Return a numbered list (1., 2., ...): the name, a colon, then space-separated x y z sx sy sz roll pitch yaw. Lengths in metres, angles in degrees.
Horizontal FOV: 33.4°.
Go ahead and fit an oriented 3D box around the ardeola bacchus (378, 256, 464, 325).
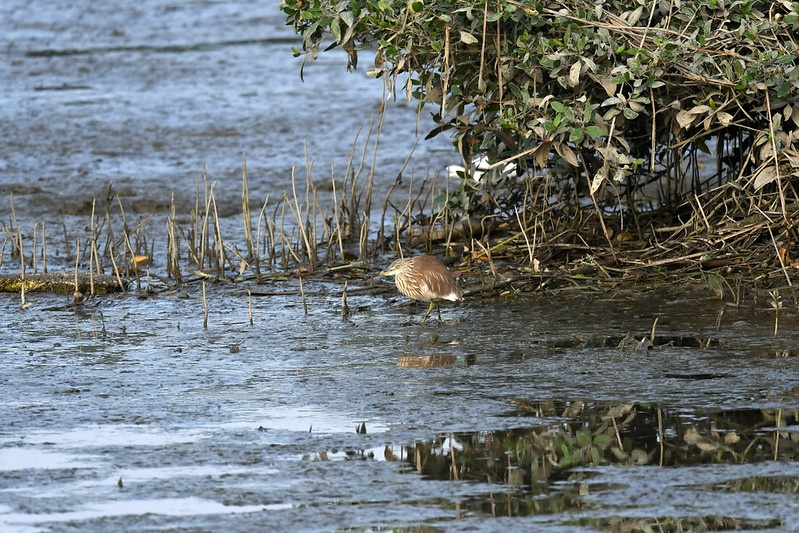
1. ardeola bacchus: 0.198 0.228 12.891 0.871 0.601 0.424 -1 7 -26
